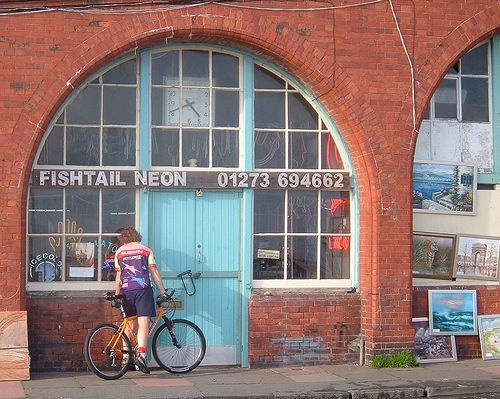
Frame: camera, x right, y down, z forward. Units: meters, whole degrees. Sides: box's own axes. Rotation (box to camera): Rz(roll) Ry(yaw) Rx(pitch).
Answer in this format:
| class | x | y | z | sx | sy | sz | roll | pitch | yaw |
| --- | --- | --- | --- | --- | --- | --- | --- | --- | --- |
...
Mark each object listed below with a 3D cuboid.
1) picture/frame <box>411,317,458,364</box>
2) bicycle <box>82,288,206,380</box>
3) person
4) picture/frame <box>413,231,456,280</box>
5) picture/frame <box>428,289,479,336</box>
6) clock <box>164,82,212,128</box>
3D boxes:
| class | x | y | z | sx | sy | sz | roll | pitch | yaw |
| --- | --- | --- | --- | --- | --- | --- | --- | --- | --- |
| picture/frame | 2.969 | 2.266 | 16.539 | 0.909 | 0.794 | 0.071 | 7 | -18 | -33 |
| bicycle | -1.603 | 2.033 | 15.226 | 2.007 | 1.228 | 0.893 | -7 | -9 | 21 |
| person | -1.676 | 1.500 | 15.284 | 0.751 | 2.207 | 0.401 | -4 | -4 | 27 |
| picture/frame | 2.989 | 0.911 | 16.794 | 0.071 | 0.781 | 0.961 | 7 | -3 | -42 |
| picture/frame | 3.250 | 1.848 | 16.566 | 0.797 | 0.657 | 0.057 | 1 | -8 | -7 |
| clock | -1.000 | -1.531 | 16.319 | 0.794 | 0.690 | 0.094 | 1 | 1 | -24 |
